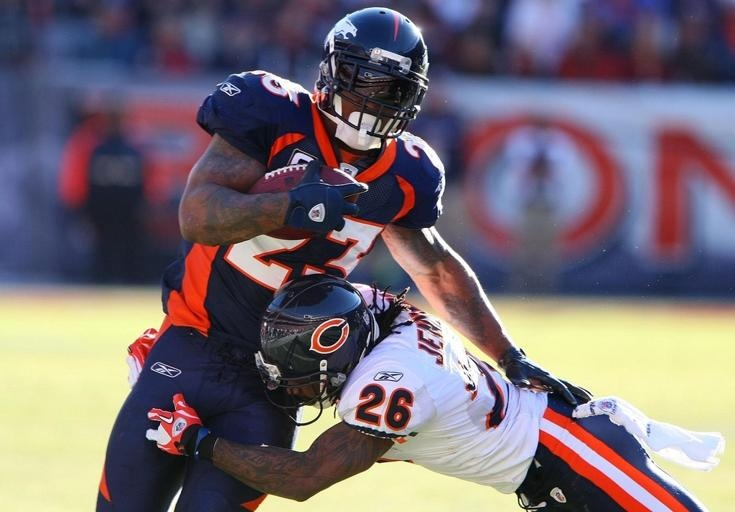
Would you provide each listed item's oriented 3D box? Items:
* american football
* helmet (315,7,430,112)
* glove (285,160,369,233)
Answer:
[{"bbox_3d":[-0.346,-0.373,5.508,0.561,0.324,0.116,-4,23,-7],"label":"american football"},{"bbox_3d":[0.046,-1.057,5.649,0.524,0.495,0.621,20,18,-25],"label":"helmet"},{"bbox_3d":[-0.261,-0.301,5.545,0.512,0.388,0.322,2,-22,-12],"label":"glove"}]
